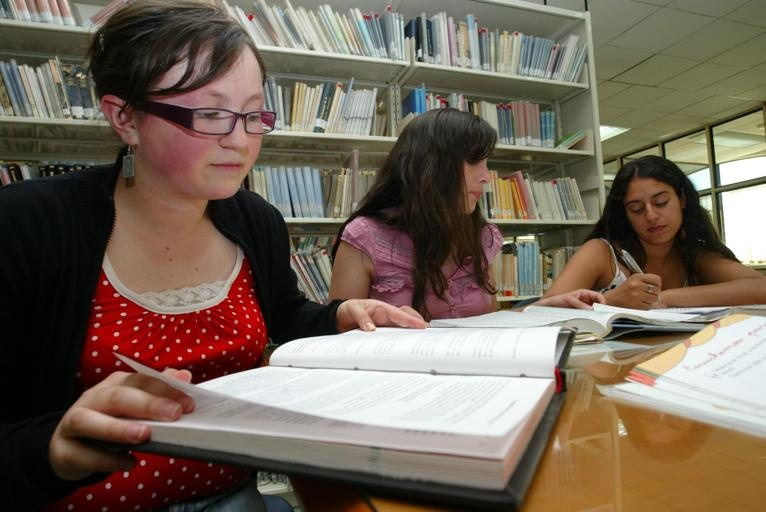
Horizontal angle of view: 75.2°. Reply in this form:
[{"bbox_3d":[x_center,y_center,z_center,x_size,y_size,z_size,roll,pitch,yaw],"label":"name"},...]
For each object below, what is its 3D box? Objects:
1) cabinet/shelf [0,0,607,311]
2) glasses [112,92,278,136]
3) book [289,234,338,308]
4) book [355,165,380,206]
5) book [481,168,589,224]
[{"bbox_3d":[-0.272,-0.418,1.990,1.753,1.627,0.514,8,-23,-23],"label":"cabinet/shelf"},{"bbox_3d":[-0.387,-0.294,1.077,0.297,0.081,0.079,-5,9,-17],"label":"glasses"},{"bbox_3d":[-0.426,0.073,2.659,0.125,0.374,0.278,-12,1,23],"label":"book"},{"bbox_3d":[-0.090,-0.410,2.789,0.083,0.176,0.231,11,-12,-17],"label":"book"},{"bbox_3d":[0.978,-0.364,3.224,0.496,0.194,0.487,1,-3,-14],"label":"book"}]
